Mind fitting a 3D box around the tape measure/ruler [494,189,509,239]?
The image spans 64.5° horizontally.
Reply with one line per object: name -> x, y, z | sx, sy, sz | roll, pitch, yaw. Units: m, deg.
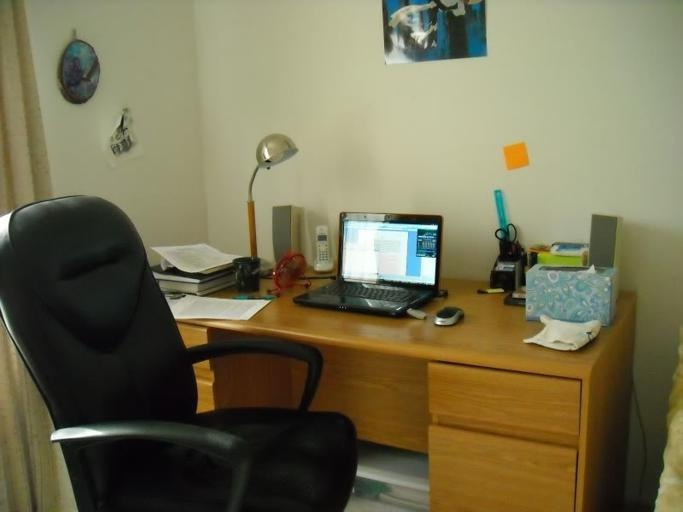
tape measure/ruler -> 0.642, -0.178, 2.167 | 0.061, 0.180, 0.073 | 1, 10, 15

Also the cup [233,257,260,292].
cup -> -0.367, 0.076, 2.194 | 0.122, 0.126, 0.116 | 0, 15, 0

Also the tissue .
tissue  -> 0.719, 0.103, 1.699 | 0.298, 0.197, 0.170 | 3, 10, 25

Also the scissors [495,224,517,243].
scissors -> 0.661, -0.104, 2.172 | 0.090, 0.073, 0.063 | 14, 38, 15

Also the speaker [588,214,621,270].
speaker -> 0.919, -0.057, 1.891 | 0.096, 0.172, 0.075 | 2, 11, 20
